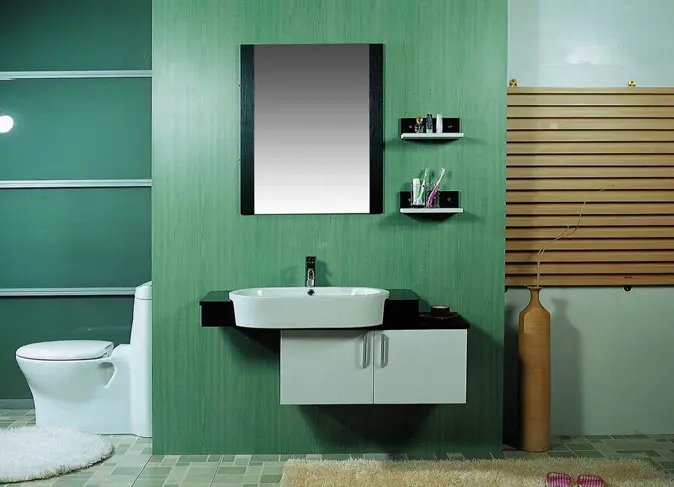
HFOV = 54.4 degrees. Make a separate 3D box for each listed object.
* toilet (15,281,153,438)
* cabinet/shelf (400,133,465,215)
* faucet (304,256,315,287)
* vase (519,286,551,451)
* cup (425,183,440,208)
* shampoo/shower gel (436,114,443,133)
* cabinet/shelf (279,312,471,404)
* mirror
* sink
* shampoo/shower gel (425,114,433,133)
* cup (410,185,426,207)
[{"bbox_3d":[-1.837,0.813,4.914,1.019,1.076,0.666,2,2,-16],"label":"toilet"},{"bbox_3d":[0.662,-0.475,4.459,0.554,0.641,0.214,0,0,-1],"label":"cabinet/shelf"},{"bbox_3d":[-0.181,0.194,4.448,0.071,0.204,0.148,0,12,1],"label":"faucet"},{"bbox_3d":[1.377,0.902,4.657,0.274,1.150,0.267,-1,1,-39],"label":"vase"},{"bbox_3d":[0.637,-0.313,4.427,0.086,0.139,0.046,-7,14,-32],"label":"cup"},{"bbox_3d":[0.692,-0.803,4.425,0.047,0.128,0.103,2,12,8],"label":"shampoo/shower gel"},{"bbox_3d":[0.220,0.784,4.367,0.948,0.448,0.539,0,-3,1],"label":"cabinet/shelf"},{"bbox_3d":[-0.187,-0.803,4.486,1.175,1.362,0.104,0,1,1],"label":"mirror"},{"bbox_3d":[-0.172,0.395,4.222,0.987,0.238,0.403,0,12,-1],"label":"sink"},{"bbox_3d":[0.628,-0.805,4.430,0.063,0.117,0.057,0,12,-2],"label":"shampoo/shower gel"},{"bbox_3d":[0.551,-0.313,4.377,0.097,0.132,0.048,0,-2,2],"label":"cup"}]
